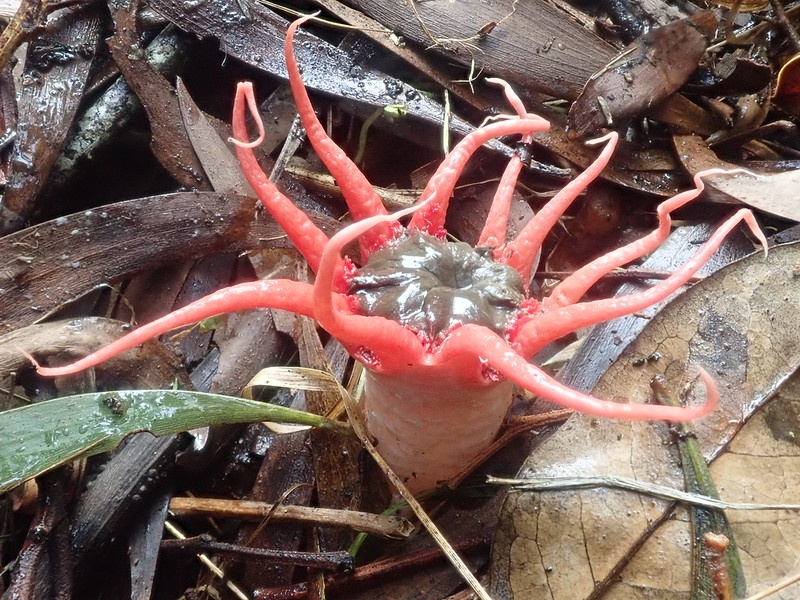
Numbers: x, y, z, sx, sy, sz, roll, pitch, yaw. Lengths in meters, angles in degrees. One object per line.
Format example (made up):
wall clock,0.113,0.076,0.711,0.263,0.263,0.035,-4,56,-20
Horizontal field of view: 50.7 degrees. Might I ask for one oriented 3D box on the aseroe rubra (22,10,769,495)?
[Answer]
aseroe rubra,0.082,0.001,1.999,1.219,1.011,0.722,25,36,-8
